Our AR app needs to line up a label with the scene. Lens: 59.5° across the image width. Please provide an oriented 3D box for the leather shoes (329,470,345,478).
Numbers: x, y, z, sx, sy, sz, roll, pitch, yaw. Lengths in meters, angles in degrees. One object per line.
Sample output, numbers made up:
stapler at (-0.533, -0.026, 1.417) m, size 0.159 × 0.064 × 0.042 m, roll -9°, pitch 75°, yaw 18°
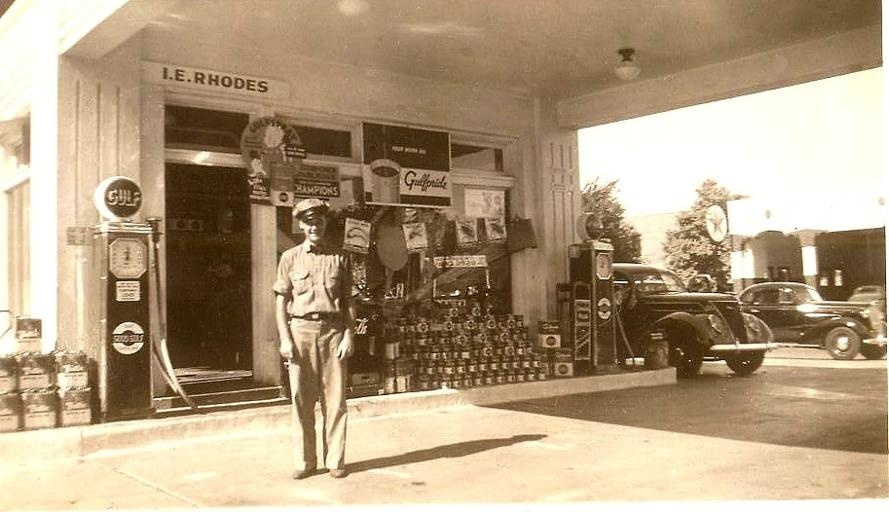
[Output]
leather shoes at (-1.421, 2.911, 10.482) m, size 0.221 × 0.109 × 0.126 m, roll -1°, pitch 8°, yaw -7°

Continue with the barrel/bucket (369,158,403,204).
barrel/bucket at (-1.132, -1.418, 14.983) m, size 0.888 × 0.747 × 0.781 m, roll 1°, pitch 5°, yaw 5°

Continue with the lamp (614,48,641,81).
lamp at (3.418, -3.659, 14.657) m, size 0.574 × 0.566 × 0.498 m, roll 1°, pitch -40°, yaw 3°

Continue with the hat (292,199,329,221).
hat at (-1.820, -0.636, 10.626) m, size 0.427 × 0.296 × 0.282 m, roll -1°, pitch 9°, yaw -12°

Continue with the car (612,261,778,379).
car at (5.359, 1.469, 17.131) m, size 3.247 × 2.257 × 2.057 m, roll 2°, pitch 9°, yaw 12°
